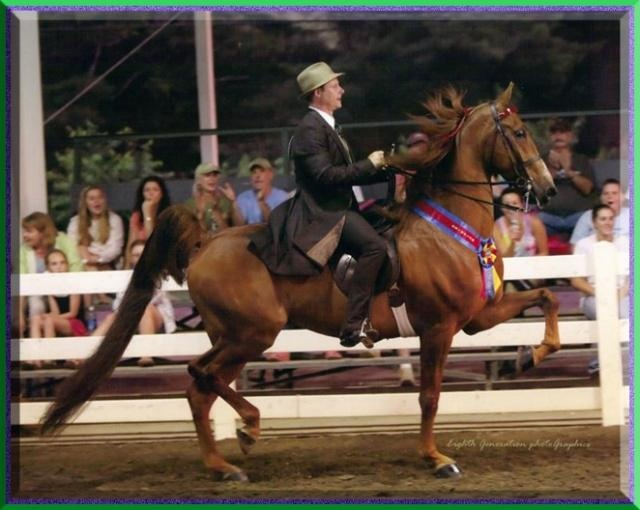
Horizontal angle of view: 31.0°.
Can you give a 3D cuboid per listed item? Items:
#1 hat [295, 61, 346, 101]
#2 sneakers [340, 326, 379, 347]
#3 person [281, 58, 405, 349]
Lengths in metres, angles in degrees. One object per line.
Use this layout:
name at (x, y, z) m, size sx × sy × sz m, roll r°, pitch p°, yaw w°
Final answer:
hat at (-0.023, -1.270, 8.257) m, size 0.303 × 0.107 × 0.252 m, roll -20°, pitch 18°, yaw 33°
sneakers at (0.266, 0.584, 8.177) m, size 0.273 × 0.193 × 0.255 m, roll -2°, pitch 6°, yaw -3°
person at (0.119, -0.186, 8.184) m, size 0.690 × 1.695 × 0.422 m, roll -1°, pitch 7°, yaw 9°
